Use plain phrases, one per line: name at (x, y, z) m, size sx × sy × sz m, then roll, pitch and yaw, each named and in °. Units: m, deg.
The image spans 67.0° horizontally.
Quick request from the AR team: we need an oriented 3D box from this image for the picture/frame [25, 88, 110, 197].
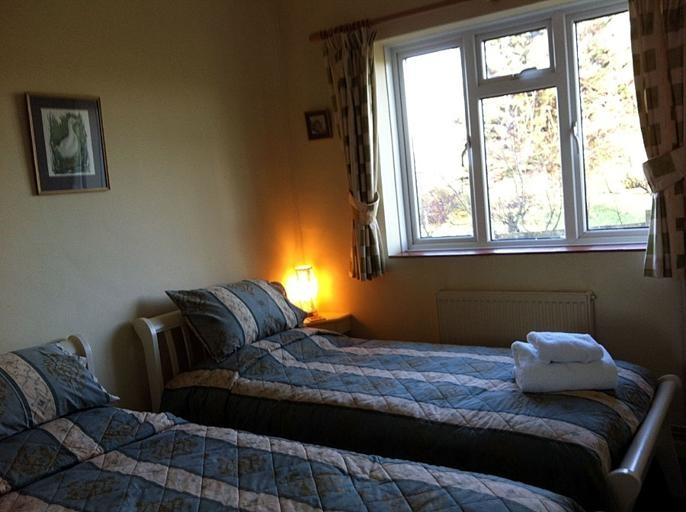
picture/frame at (-1.500, -0.609, 2.782) m, size 0.025 × 0.725 × 0.502 m, roll 2°, pitch 10°, yaw 42°
